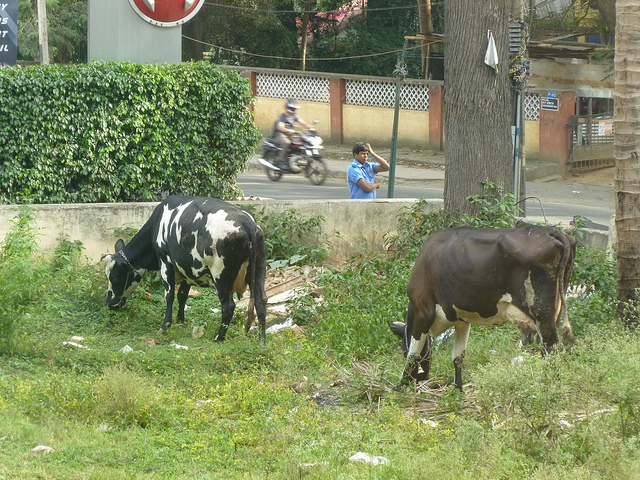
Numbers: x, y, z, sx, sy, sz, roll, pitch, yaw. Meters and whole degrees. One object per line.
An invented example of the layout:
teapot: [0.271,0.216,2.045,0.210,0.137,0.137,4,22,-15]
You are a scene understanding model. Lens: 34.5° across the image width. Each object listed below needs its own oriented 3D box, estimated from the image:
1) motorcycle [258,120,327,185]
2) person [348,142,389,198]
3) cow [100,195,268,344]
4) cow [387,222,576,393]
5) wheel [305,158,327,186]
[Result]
motorcycle: [-0.676,-2.238,25.728,1.875,1.625,0.851,5,5,26]
person: [0.826,-1.221,18.142,0.668,0.979,1.433,3,5,17]
cow: [-1.899,0.364,15.003,2.714,1.995,0.716,6,6,36]
cow: [1.826,0.875,12.359,2.399,2.200,0.778,-1,7,32]
wheel: [-0.065,-1.717,25.538,0.450,0.604,0.173,11,10,11]
